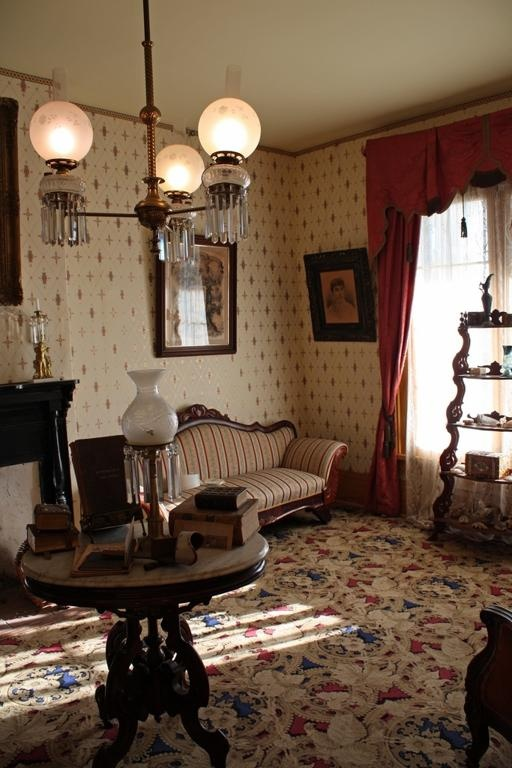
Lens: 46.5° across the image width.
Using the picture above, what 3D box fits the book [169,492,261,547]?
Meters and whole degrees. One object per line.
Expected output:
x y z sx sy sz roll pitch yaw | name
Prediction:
-0.153 0.505 2.196 0.210 0.108 0.215 -2 0 12 | book

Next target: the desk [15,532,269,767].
-0.427 0.890 2.243 0.858 0.746 0.807 5 9 45 | desk

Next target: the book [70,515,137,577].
-0.528 0.520 2.064 0.143 0.081 0.262 4 1 -4 | book

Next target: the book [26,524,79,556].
-0.762 0.570 2.255 0.117 0.054 0.118 0 7 -11 | book

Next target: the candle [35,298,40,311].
-1.507 -0.552 4.124 0.036 0.094 0.107 -3 2 -20 | candle

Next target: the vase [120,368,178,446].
-0.368 0.081 2.061 0.189 0.259 0.188 -3 4 -33 | vase

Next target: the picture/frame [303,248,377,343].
0.817 -0.851 5.823 0.204 0.931 0.812 -3 2 -35 | picture/frame

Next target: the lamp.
-0.362 -0.949 2.131 0.731 0.987 0.726 -2 2 0 | lamp
